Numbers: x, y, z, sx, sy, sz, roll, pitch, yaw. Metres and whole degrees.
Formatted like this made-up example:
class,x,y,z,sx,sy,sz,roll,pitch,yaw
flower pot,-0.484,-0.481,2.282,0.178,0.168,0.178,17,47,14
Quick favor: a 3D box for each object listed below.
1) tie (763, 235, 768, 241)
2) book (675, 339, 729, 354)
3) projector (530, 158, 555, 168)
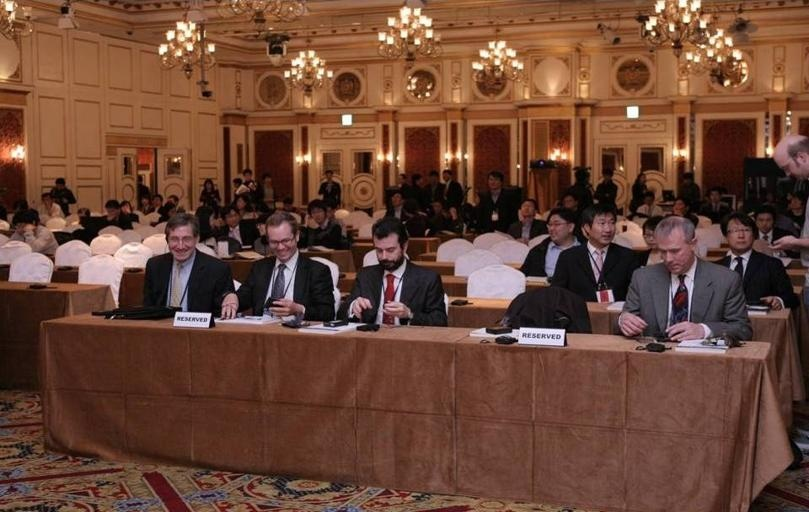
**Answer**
class,x,y,z,sx,sy,sz,roll,pitch,yaw
tie,4.246,-0.212,7.935,0.055,0.056,0.014,6,2,12
book,1.790,0.548,4.060,0.281,0.046,0.252,2,5,28
projector,3.559,-2.403,17.483,0.476,0.147,0.484,0,2,16
